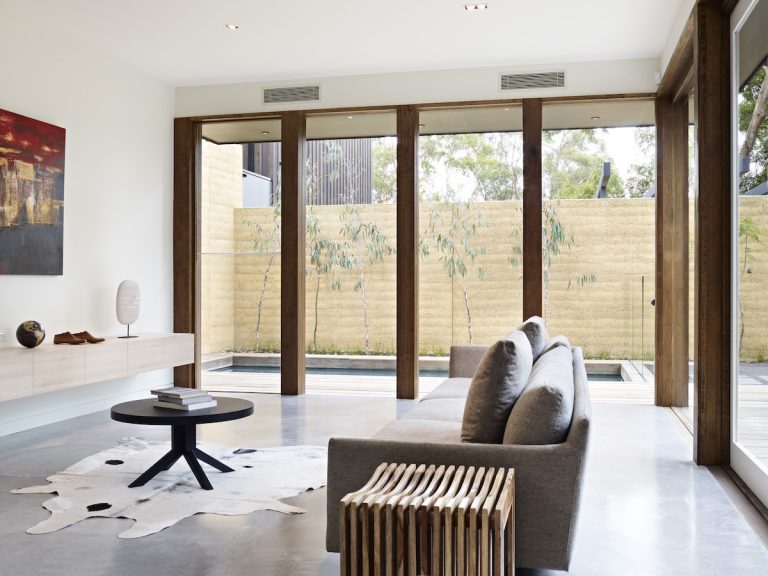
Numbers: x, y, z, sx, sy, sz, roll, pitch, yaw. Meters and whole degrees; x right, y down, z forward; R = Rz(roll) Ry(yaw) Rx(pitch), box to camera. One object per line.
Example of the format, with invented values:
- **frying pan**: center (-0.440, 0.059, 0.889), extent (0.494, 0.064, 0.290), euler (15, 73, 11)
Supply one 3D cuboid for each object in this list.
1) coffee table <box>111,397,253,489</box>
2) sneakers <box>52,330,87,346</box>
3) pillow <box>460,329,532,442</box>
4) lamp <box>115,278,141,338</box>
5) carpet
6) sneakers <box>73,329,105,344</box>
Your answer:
- **coffee table**: center (-1.437, 1.115, 4.482), extent (0.904, 0.544, 0.920), euler (2, -2, -11)
- **sneakers**: center (-2.761, 0.457, 5.539), extent (0.249, 0.086, 0.179), euler (-2, 5, -28)
- **pillow**: center (0.609, 0.555, 3.452), extent (0.185, 0.357, 0.533), euler (7, 4, 18)
- **lamp**: center (-2.591, 0.220, 6.375), extent (0.216, 0.574, 0.473), euler (-2, 4, -22)
- **carpet**: center (-1.362, 1.313, 4.223), extent (1.929, 0.035, 1.511), euler (0, 4, -1)
- **sneakers**: center (-2.703, 0.438, 5.713), extent (0.347, 0.140, 0.133), euler (2, -1, 17)
